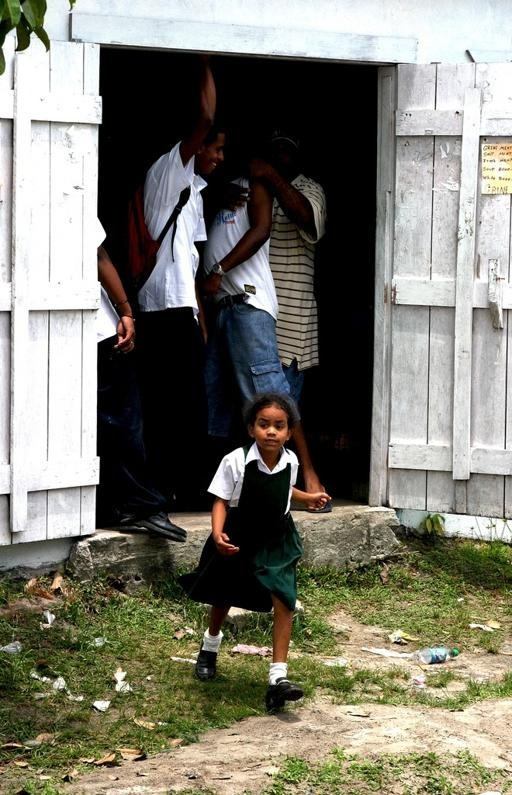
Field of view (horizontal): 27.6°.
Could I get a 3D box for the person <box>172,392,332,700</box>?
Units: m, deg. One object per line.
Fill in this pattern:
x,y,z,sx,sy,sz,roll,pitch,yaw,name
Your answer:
-0.041,0.565,3.961,0.449,1.153,0.536,2,3,-4,person

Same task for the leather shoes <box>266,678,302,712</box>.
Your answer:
0.086,1.086,3.819,0.074,0.091,0.191,4,-10,-21,leather shoes

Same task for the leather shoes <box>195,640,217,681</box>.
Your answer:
-0.204,1.068,4.198,0.061,0.073,0.177,7,6,-3,leather shoes

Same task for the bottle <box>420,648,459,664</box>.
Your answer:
0.831,1.152,4.743,0.174,0.056,0.065,-2,39,-36,bottle
